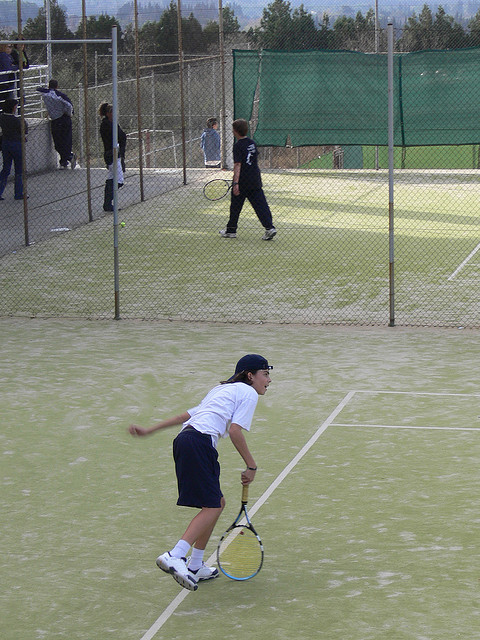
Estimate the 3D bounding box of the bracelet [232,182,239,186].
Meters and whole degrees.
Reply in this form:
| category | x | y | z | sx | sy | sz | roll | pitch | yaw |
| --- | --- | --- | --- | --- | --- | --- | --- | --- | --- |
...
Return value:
| category | x | y | z | sx | sy | sz | roll | pitch | yaw |
| --- | --- | --- | --- | --- | --- | --- | --- | --- | --- |
| bracelet | -0.078 | -2.208 | 13.489 | 0.089 | 0.042 | 0.170 | 0 | 11 | 2 |

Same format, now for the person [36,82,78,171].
| category | x | y | z | sx | sy | sz | roll | pitch | yaw |
| --- | --- | --- | --- | --- | --- | --- | --- | --- | --- |
| person | -4.165 | -4.418 | 19.083 | 0.730 | 1.911 | 1.300 | -3 | 13 | -11 |
